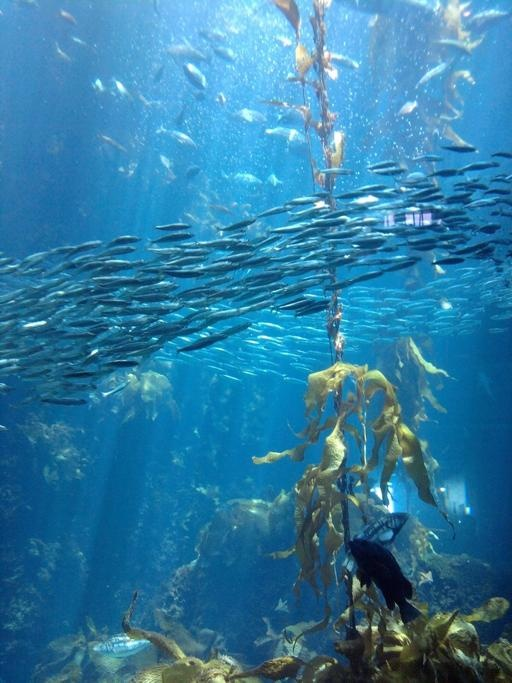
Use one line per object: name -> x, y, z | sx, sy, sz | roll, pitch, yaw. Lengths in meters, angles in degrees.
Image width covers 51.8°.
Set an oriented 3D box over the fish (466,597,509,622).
fish -> 1.992, 2.362, 4.561 | 0.318, 0.241, 0.437 | -4, -17, 21
